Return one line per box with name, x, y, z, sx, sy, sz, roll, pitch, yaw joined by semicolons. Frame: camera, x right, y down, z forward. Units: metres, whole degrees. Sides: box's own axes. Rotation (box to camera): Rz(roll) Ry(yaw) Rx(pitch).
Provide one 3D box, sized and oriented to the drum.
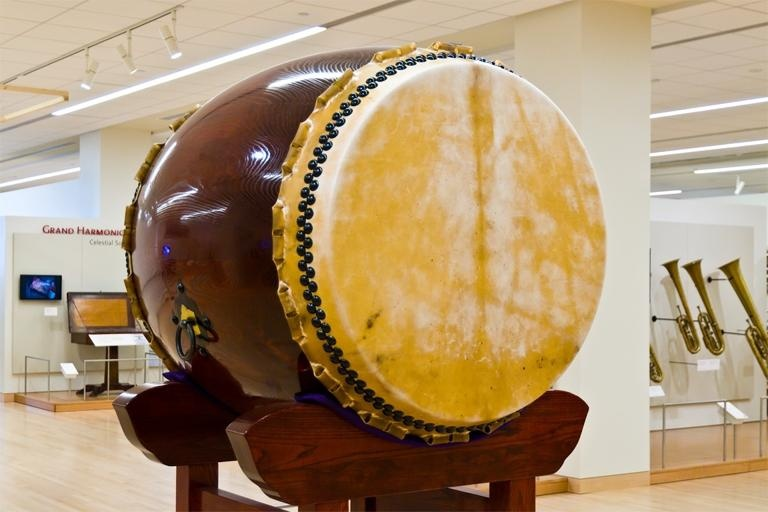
drum;-0.066;-0.013;1.654;0.765;1.062;0.833;1;3;0
